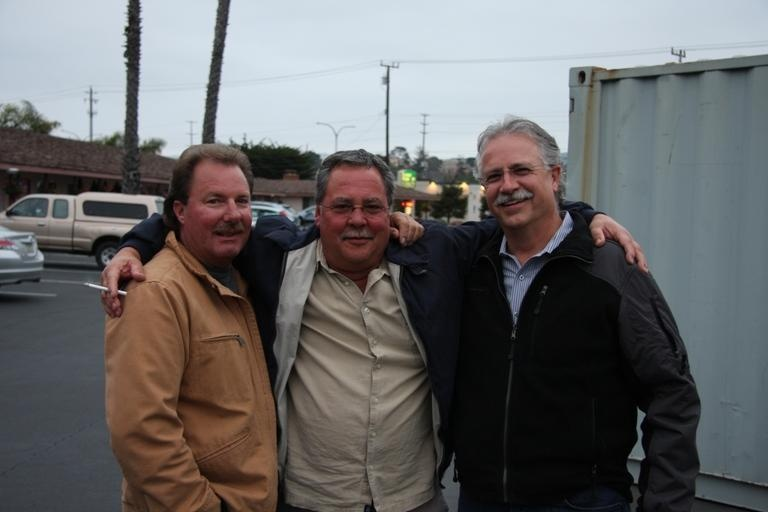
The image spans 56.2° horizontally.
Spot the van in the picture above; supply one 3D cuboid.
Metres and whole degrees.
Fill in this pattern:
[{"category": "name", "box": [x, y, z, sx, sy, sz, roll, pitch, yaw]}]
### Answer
[{"category": "van", "box": [-5.891, -0.529, 13.690, 3.971, 1.504, 1.575, 6, 3, 14]}]
